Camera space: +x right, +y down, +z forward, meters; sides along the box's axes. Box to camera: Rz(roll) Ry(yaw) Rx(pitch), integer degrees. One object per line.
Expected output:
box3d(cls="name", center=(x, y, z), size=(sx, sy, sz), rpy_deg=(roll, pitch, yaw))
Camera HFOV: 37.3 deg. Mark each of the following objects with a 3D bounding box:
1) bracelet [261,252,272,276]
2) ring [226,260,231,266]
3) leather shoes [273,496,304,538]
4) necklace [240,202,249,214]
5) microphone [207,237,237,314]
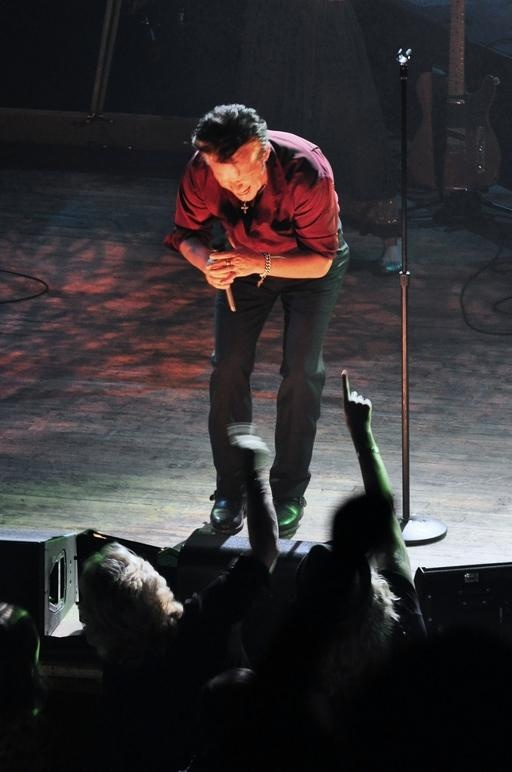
box3d(cls="bracelet", center=(0.026, -0.332, 2.079), size=(0.021, 0.049, 0.041), rpy_deg=(9, 15, -14))
box3d(cls="ring", center=(-0.073, -0.327, 2.018), size=(0.011, 0.009, 0.019), rpy_deg=(1, 8, 8))
box3d(cls="leather shoes", center=(0.101, 0.394, 2.288), size=(0.072, 0.041, 0.120), rpy_deg=(3, 29, 20))
box3d(cls="necklace", center=(-0.029, -0.485, 2.053), size=(0.016, 0.013, 0.028), rpy_deg=(-5, 52, 4))
box3d(cls="microphone", center=(-0.087, -0.310, 2.185), size=(0.047, 0.266, 0.040), rpy_deg=(6, 28, 28))
